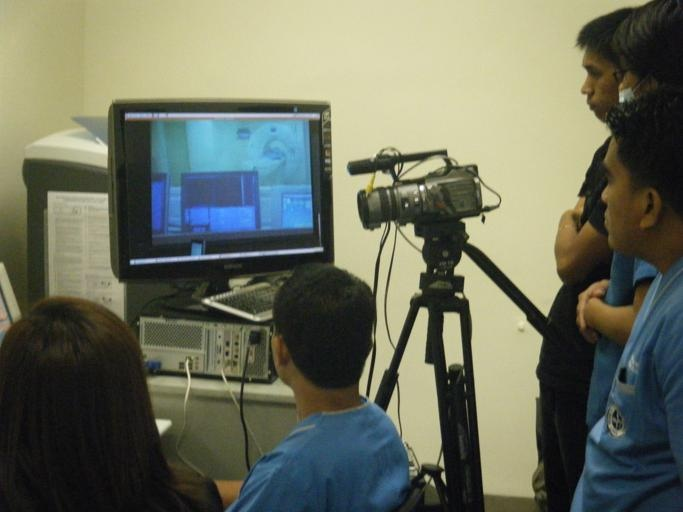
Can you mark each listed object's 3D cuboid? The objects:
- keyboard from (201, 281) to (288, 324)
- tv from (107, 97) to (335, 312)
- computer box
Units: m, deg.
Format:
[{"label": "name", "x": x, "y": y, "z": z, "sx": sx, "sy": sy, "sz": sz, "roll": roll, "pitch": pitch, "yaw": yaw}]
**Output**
[{"label": "keyboard", "x": -0.319, "y": 0.157, "z": 2.303, "sx": 0.159, "sy": 0.052, "sz": 0.221, "roll": 25, "pitch": 18, "yaw": 14}, {"label": "tv", "x": -0.437, "y": -0.188, "z": 2.348, "sx": 0.716, "sy": 0.635, "sz": 0.260, "roll": -1, "pitch": 1, "yaw": -18}, {"label": "computer box", "x": -0.458, "y": 0.308, "z": 2.276, "sx": 0.384, "sy": 0.190, "sz": 0.229, "roll": 4, "pitch": 13, "yaw": 8}]
